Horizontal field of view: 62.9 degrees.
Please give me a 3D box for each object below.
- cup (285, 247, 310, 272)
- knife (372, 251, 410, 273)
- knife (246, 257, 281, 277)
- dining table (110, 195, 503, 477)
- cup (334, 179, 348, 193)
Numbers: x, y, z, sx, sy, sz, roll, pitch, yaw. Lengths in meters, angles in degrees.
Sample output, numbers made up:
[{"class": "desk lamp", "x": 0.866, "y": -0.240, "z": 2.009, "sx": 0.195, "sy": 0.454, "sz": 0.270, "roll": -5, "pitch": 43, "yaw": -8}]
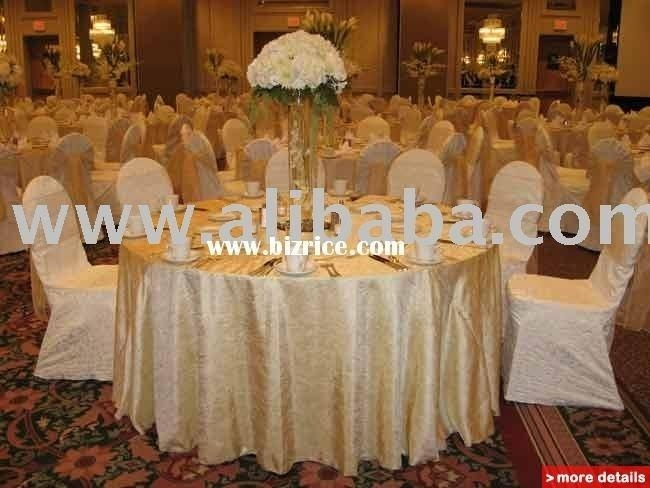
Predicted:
[{"class": "cup", "x": -0.119, "y": 0.069, "z": 2.256, "sx": 0.086, "sy": 0.112, "sz": 0.095, "roll": 3, "pitch": 15, "yaw": 15}, {"class": "knife", "x": 0.293, "y": 0.080, "z": 2.387, "sx": 0.064, "sy": 0.032, "sz": 0.124, "roll": 21, "pitch": 4, "yaw": -23}, {"class": "knife", "x": -0.253, "y": 0.081, "z": 2.345, "sx": 0.042, "sy": 0.030, "sz": 0.196, "roll": 7, "pitch": 20, "yaw": 16}, {"class": "dining table", "x": -0.100, "y": 0.505, "z": 2.551, "sx": 1.917, "sy": 0.996, "sz": 0.706, "roll": 2, "pitch": 16, "yaw": 10}, {"class": "cup", "x": 0.107, "y": -0.398, "z": 3.639, "sx": 0.084, "sy": 0.081, "sz": 0.076, "roll": -3, "pitch": 25, "yaw": -12}]
